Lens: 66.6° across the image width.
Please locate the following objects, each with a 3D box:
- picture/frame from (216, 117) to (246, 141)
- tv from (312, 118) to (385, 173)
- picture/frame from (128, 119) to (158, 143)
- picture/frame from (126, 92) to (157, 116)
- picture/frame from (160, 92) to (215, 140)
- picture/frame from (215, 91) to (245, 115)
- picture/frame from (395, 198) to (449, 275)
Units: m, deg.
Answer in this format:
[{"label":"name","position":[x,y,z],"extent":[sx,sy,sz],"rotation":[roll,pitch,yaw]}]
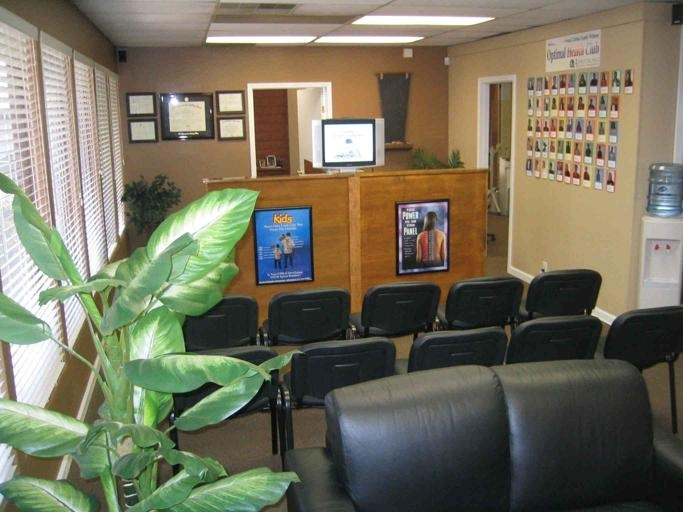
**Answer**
[{"label":"picture/frame","position":[-1.849,-2.105,8.585],"extent":[0.381,0.327,0.030],"rotation":[-1,7,-14]},{"label":"tv","position":[0.080,-1.269,5.948],"extent":[0.987,0.717,0.537],"rotation":[-1,4,-10]},{"label":"picture/frame","position":[-3.203,-2.008,8.315],"extent":[0.377,0.336,0.037],"rotation":[0,6,-10]},{"label":"picture/frame","position":[-3.200,-2.407,8.243],"extent":[0.367,0.328,0.027],"rotation":[-2,10,-16]},{"label":"picture/frame","position":[-2.538,-2.278,8.406],"extent":[0.740,0.649,0.075],"rotation":[-2,5,-18]},{"label":"picture/frame","position":[-1.852,-2.519,8.523],"extent":[0.379,0.321,0.030],"rotation":[-1,5,-14]},{"label":"picture/frame","position":[0.859,-0.246,5.746],"extent":[0.775,1.037,0.043],"rotation":[-4,9,-17]}]
